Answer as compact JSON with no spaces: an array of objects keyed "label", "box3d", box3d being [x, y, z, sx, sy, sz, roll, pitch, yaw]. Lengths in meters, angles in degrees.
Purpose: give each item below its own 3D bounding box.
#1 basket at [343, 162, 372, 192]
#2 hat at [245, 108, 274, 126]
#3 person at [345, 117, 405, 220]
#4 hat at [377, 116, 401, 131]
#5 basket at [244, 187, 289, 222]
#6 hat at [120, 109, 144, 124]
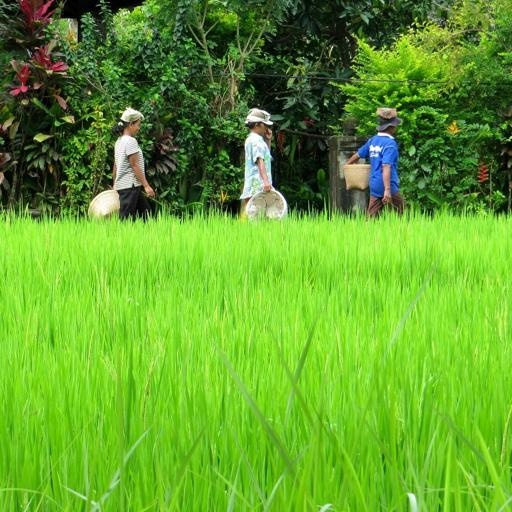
[{"label":"basket","box3d":[0.824,-0.641,5.718,0.153,0.183,0.205,1,-5,-5]},{"label":"hat","box3d":[0.041,-1.051,5.355,0.176,0.123,0.131,-1,10,-23]},{"label":"person","box3d":[0.991,-0.729,5.431,0.347,0.845,0.767,2,3,0]},{"label":"hat","box3d":[1.007,-0.995,5.259,0.168,0.125,0.161,3,3,13]},{"label":"basket","box3d":[0.074,-0.370,4.899,0.286,0.227,0.400,2,3,-2]},{"label":"hat","box3d":[-0.942,-1.035,5.195,0.100,0.092,0.136,-9,9,-41]}]
